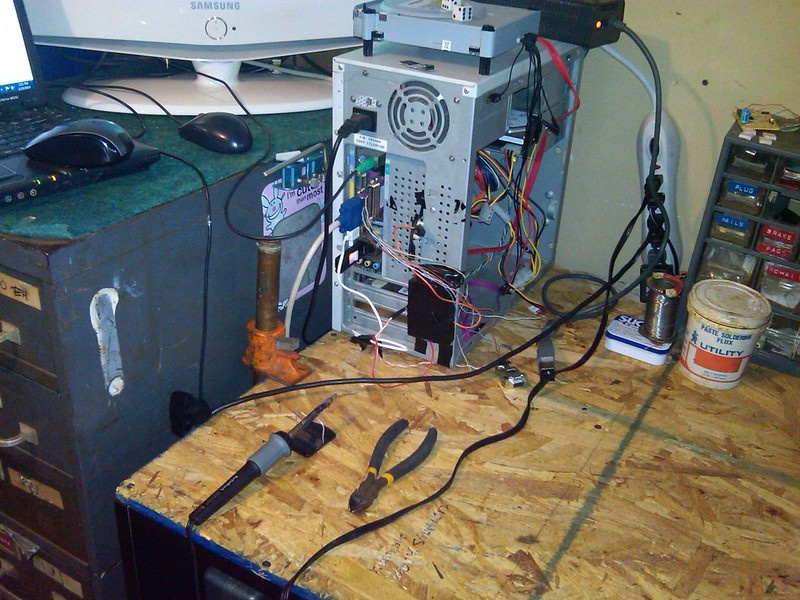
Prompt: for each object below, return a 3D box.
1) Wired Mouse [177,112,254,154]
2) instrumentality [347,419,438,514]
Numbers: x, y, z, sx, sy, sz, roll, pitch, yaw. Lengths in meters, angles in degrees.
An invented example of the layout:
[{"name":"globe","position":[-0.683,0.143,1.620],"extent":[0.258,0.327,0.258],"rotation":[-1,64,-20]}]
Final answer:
[{"name":"Wired Mouse","position":[-0.378,-0.353,1.448],"extent":[0.134,0.045,0.082],"rotation":[17,53,9]},{"name":"instrumentality","position":[-0.015,0.282,1.197],"extent":[0.104,0.017,0.245],"rotation":[13,32,25]}]
